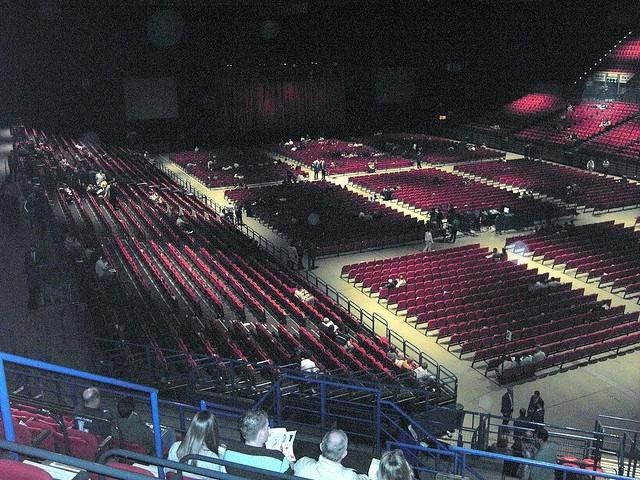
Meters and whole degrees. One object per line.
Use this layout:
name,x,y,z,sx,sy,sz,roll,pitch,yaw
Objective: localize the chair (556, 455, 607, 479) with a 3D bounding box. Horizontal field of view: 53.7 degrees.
chair,4.598,4.090,11.158,0.766,0.378,2.398,2,-15,24
